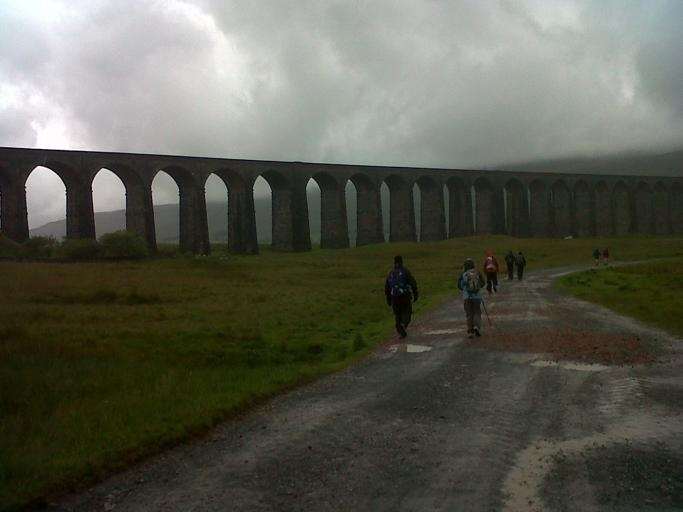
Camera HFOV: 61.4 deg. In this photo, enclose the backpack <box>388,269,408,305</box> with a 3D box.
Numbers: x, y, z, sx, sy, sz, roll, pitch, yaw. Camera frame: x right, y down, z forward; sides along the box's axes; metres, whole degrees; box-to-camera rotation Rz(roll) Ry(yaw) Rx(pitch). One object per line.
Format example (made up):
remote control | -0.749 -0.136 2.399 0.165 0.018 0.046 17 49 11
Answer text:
backpack | 1.512 0.824 15.308 0.649 0.912 0.479 -12 -10 7
